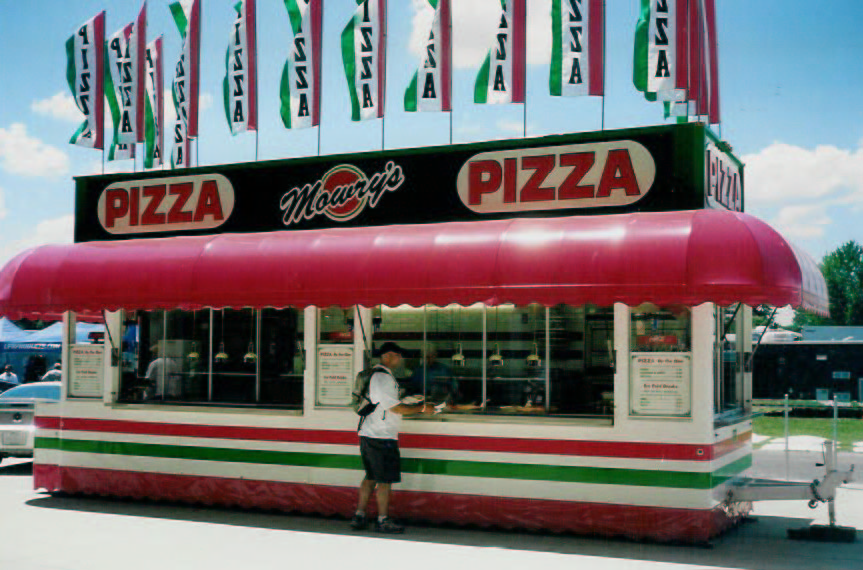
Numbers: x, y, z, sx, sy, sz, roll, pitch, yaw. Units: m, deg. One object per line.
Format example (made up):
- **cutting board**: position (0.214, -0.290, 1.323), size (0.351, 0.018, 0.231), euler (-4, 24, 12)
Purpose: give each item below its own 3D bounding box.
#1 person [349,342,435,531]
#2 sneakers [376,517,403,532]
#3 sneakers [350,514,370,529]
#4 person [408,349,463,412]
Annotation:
- **person**: position (-0.779, 2.287, 14.160), size (0.830, 2.815, 0.403), euler (0, -6, -1)
- **sneakers**: position (-0.626, 3.593, 14.011), size (0.345, 0.167, 0.183), euler (-2, -2, 22)
- **sneakers**: position (-1.093, 3.596, 14.188), size (0.124, 0.151, 0.348), euler (1, -2, 24)
- **person**: position (0.017, 1.776, 14.997), size (0.685, 1.526, 0.397), euler (-8, -24, -3)
